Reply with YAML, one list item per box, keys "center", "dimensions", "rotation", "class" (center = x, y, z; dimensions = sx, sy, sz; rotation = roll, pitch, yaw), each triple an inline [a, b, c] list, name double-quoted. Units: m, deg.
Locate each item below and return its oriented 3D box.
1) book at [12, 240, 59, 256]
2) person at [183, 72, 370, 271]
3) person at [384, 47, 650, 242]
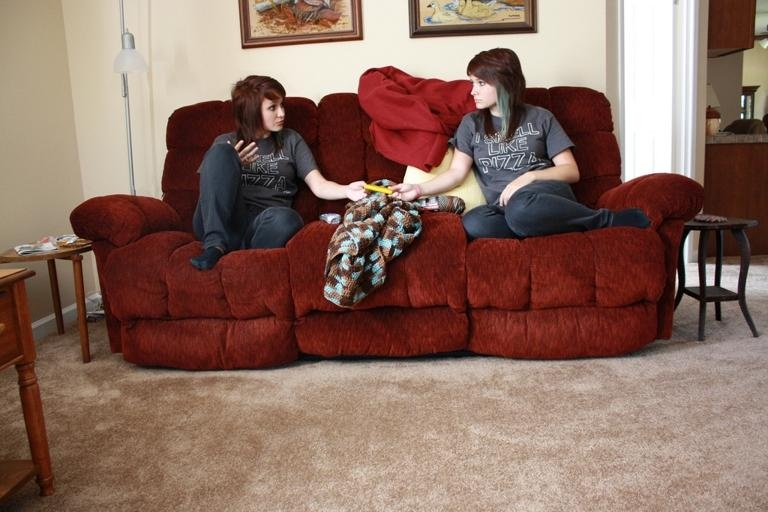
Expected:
- center: [-1.772, -0.044, 2.918]
  dimensions: [0.208, 0.042, 0.163]
  rotation: [-8, 14, -23]
  class: "book"
- center: [-0.588, -0.419, 2.907]
  dimensions: [0.824, 1.002, 0.845]
  rotation: [5, 4, 21]
  class: "person"
- center: [0.620, -0.577, 2.958]
  dimensions: [1.137, 0.925, 0.689]
  rotation: [0, 16, 40]
  class: "person"
